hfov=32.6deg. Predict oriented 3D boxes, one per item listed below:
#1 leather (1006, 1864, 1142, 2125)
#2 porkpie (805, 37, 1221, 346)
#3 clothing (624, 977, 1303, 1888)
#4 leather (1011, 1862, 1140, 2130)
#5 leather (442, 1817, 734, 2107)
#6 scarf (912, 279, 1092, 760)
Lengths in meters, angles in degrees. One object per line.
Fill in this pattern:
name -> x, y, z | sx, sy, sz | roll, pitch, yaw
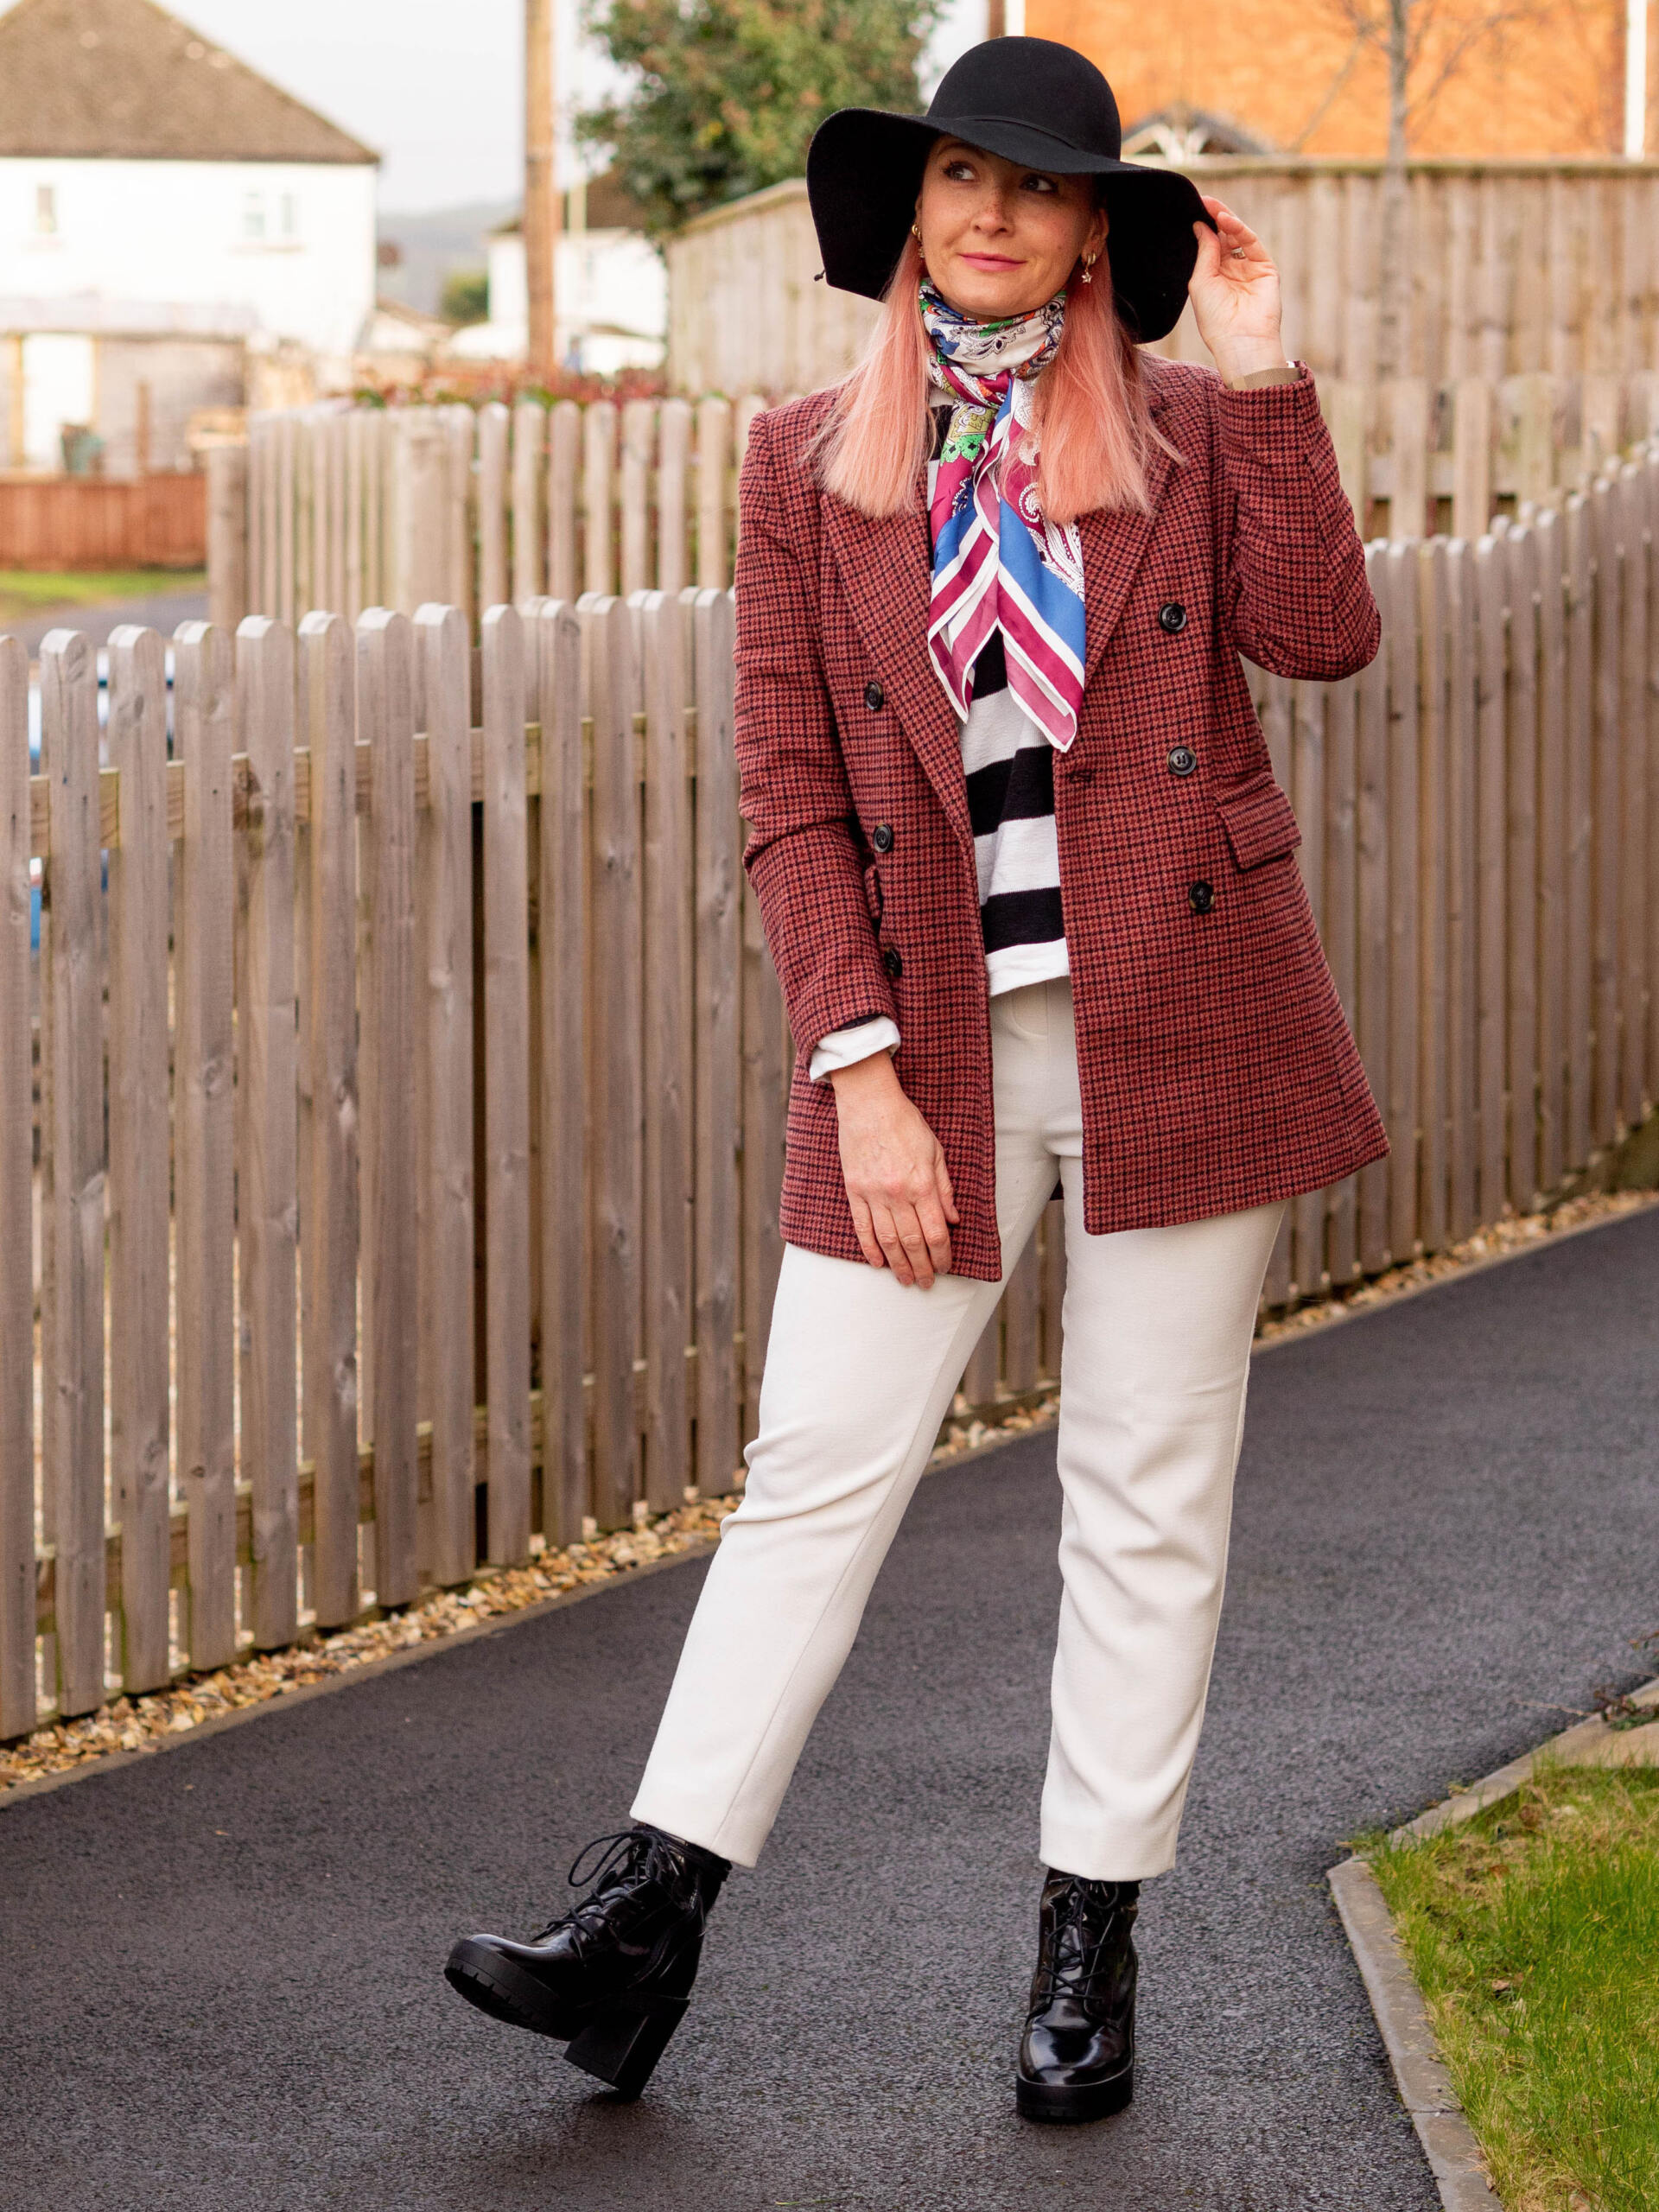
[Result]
leather -> 0.233, 0.849, 2.655 | 0.084, 0.161, 0.256 | 1, 4, 11
porkpie -> 0.169, -0.861, 2.548 | 0.310, 0.183, 0.335 | 8, -6, 16
clothing -> 0.139, 0.334, 2.607 | 0.505, 0.908, 0.218 | 9, 5, -19
leather -> 0.238, 0.837, 2.701 | 0.094, 0.179, 0.281 | -3, 2, 16
leather -> -0.204, 0.743, 2.552 | 0.216, 0.210, 0.094 | 30, -24, -24
scarf -> 0.149, -0.521, 2.473 | 0.137, 0.467, 0.059 | 0, -15, 0
